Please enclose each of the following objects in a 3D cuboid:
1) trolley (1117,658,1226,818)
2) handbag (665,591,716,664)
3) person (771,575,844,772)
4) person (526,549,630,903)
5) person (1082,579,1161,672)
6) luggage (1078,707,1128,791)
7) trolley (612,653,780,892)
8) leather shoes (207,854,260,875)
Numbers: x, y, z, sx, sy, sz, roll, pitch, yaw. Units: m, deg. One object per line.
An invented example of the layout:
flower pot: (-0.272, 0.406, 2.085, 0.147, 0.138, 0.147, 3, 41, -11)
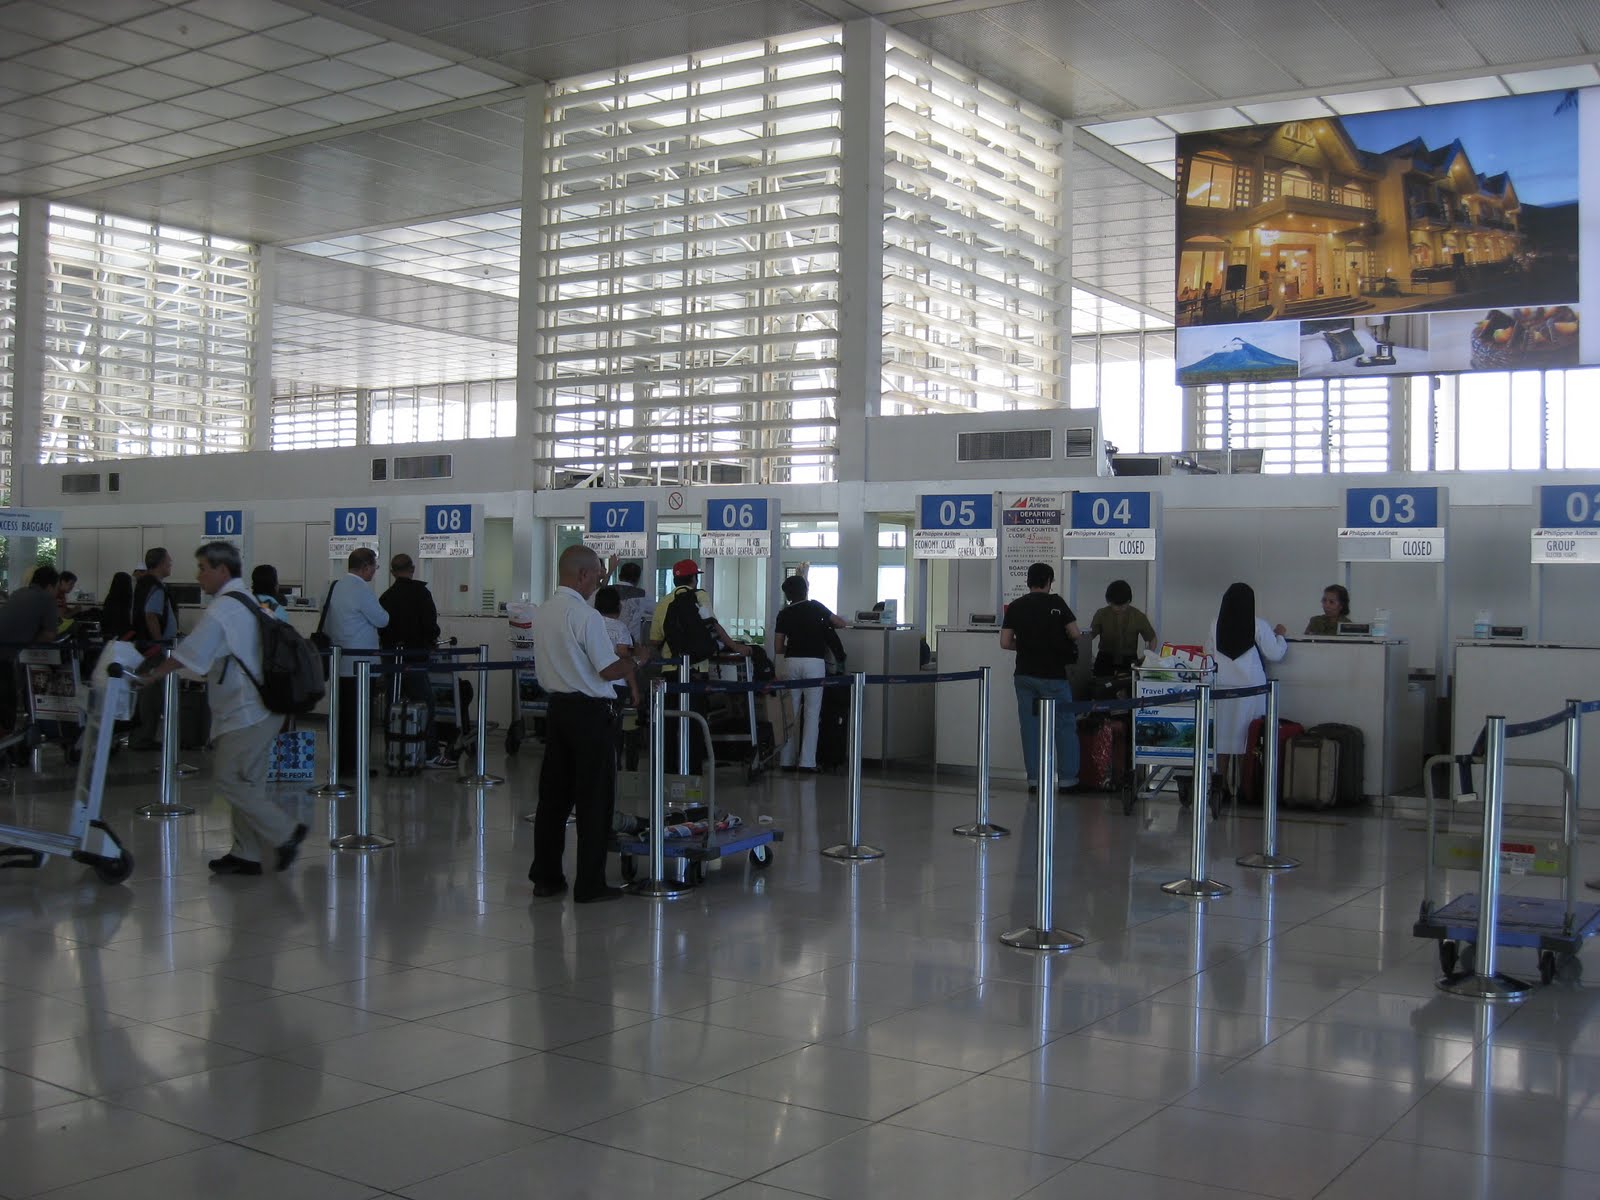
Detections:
trolley: (2.530, 1.003, 10.915, 0.714, 1.082, 0.742, 2, -2, 30)
handbag: (-0.890, 0.246, 11.881, 0.304, 0.512, 0.530, -9, 11, -39)
person: (0.083, 0.643, 12.565, 0.558, 1.693, 0.914, -1, 2, 1)
person: (-1.190, 0.650, 8.053, 0.572, 1.865, 0.552, -1, 2, -11)
person: (2.637, 0.228, 12.123, 0.501, 0.772, 0.692, -1, 2, 10)
luggage: (2.462, 1.239, 12.122, 0.405, 0.540, 0.399, 1, -4, 5)
trolley: (-0.461, 0.970, 8.678, 1.234, 1.272, 1.310, -4, -5, -18)
leather shoes: (-3.216, 1.505, 8.473, 0.321, 0.126, 0.115, 6, -1, 10)
